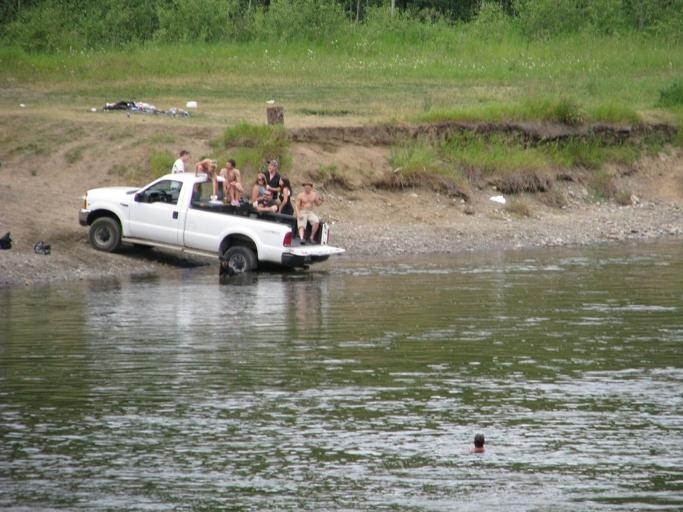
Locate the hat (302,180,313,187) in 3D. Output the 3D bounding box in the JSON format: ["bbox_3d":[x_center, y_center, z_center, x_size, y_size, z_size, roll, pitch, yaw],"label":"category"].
[{"bbox_3d":[-0.992,-1.996,44.069,0.281,0.144,0.369,1,1,0],"label":"hat"}]
